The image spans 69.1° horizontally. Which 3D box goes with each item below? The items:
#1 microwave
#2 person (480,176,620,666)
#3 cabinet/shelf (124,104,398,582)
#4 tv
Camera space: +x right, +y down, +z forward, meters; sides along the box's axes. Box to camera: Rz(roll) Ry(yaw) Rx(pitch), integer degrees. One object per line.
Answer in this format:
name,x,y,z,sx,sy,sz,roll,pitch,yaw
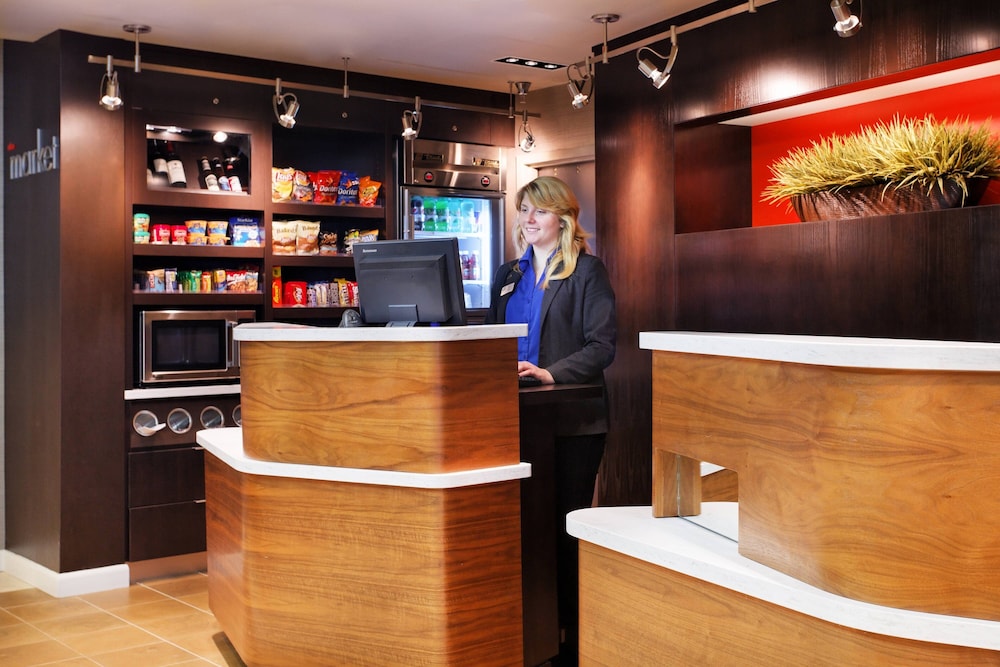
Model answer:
microwave,-2.155,0.088,5.087,0.890,0.555,0.530,0,-2,-34
person,0.298,0.399,3.661,0.615,2.408,0.812,-3,4,-2
cabinet/shelf,-1.909,0.029,5.404,1.760,3.163,0.644,-5,5,-27
tv,-0.430,-0.237,3.437,0.690,0.475,0.258,-1,16,24
